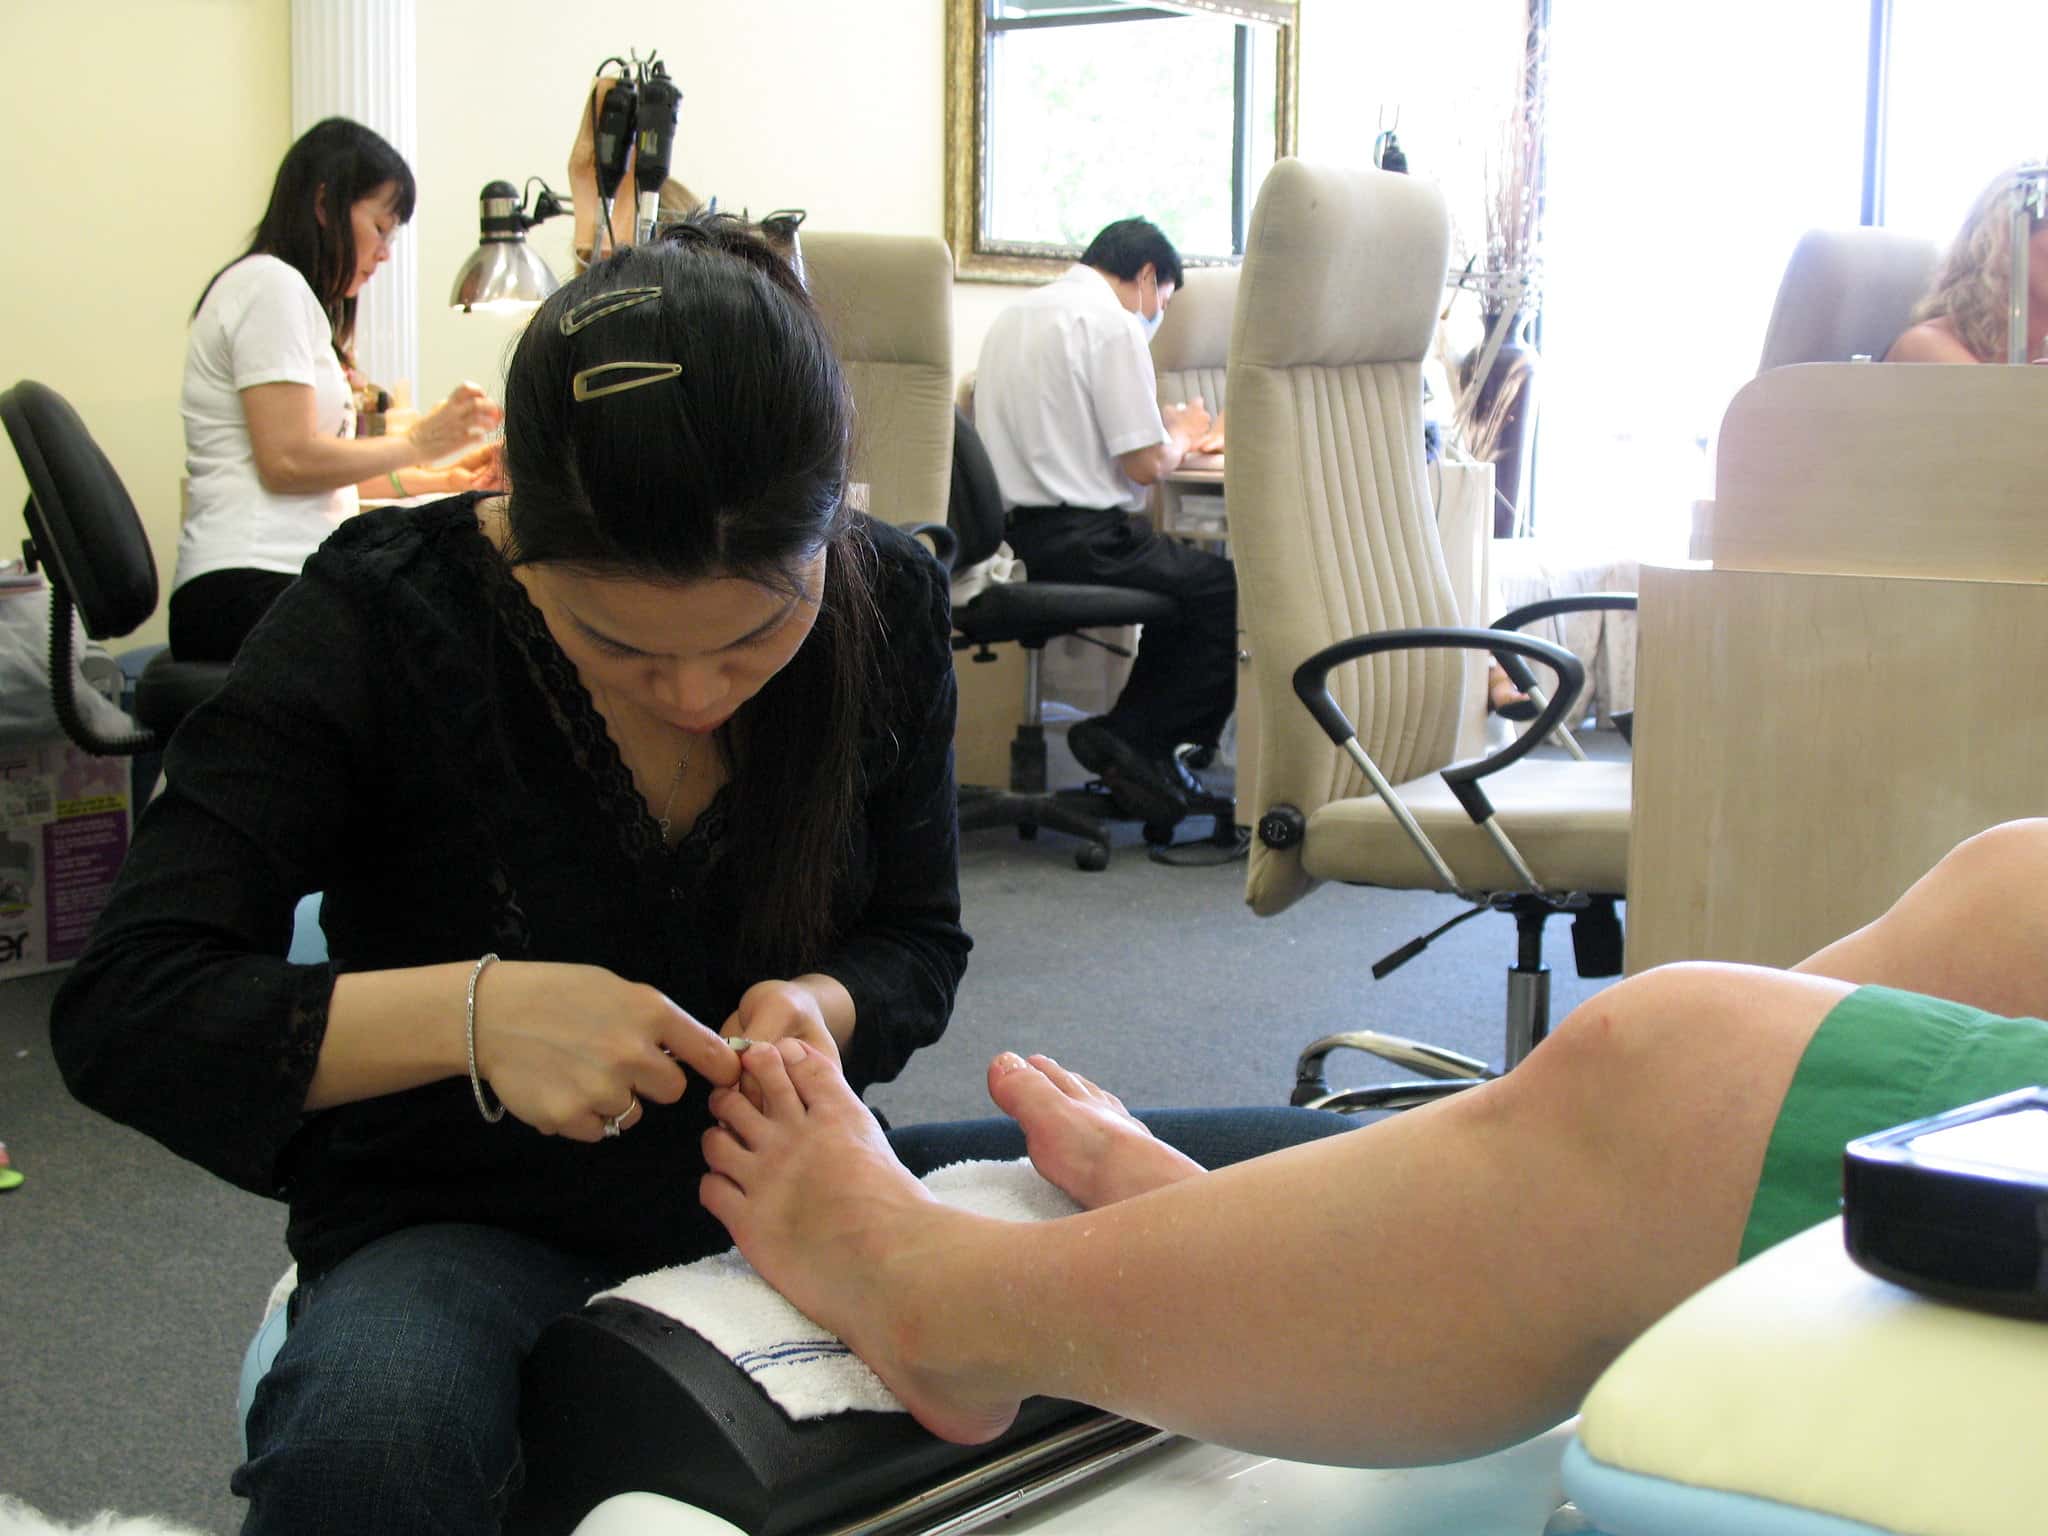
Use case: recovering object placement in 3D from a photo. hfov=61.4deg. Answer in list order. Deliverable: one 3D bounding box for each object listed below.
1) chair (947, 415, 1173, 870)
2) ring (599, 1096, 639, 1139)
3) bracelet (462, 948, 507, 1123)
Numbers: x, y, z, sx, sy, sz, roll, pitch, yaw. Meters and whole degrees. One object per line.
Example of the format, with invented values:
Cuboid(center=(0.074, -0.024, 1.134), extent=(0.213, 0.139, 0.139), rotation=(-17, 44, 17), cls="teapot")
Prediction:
Cuboid(center=(0.031, -0.317, 3.934), extent=(0.538, 1.042, 0.552), rotation=(-2, 14, -14), cls="chair")
Cuboid(center=(-0.245, 0.214, 1.046), extent=(0.028, 0.028, 0.023), rotation=(8, -1, -16), cls="ring")
Cuboid(center=(-0.322, 0.168, 1.027), extent=(0.022, 0.112, 0.052), rotation=(-3, 11, -18), cls="bracelet")
